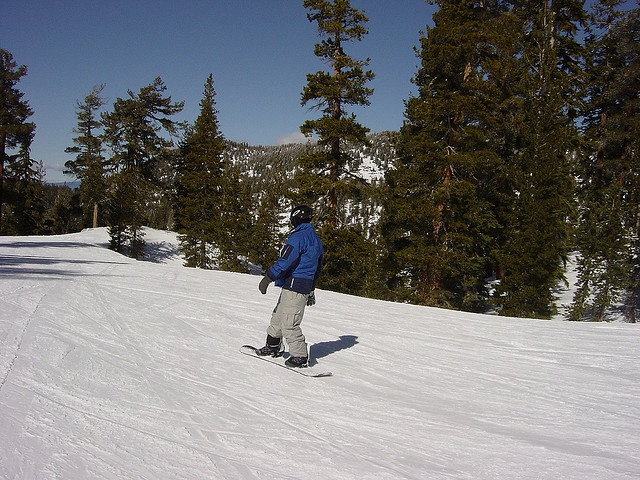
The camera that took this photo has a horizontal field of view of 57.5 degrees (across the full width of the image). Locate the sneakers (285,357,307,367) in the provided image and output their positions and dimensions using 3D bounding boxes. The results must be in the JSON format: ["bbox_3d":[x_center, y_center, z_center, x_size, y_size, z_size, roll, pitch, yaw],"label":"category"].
[{"bbox_3d":[-0.530,2.841,13.781,0.551,0.276,0.210,10,6,-4],"label":"sneakers"}]

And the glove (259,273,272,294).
[{"bbox_3d":[-1.218,0.999,13.365,0.257,0.450,0.106,24,-1,21],"label":"glove"}]

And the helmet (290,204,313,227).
[{"bbox_3d":[-0.423,-0.618,13.749,0.418,0.548,0.511,-5,21,-40],"label":"helmet"}]

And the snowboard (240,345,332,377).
[{"bbox_3d":[-0.867,2.882,13.755,1.591,0.170,0.431,12,14,32],"label":"snowboard"}]

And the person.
[{"bbox_3d":[-0.625,1.057,13.621,1.241,3.815,0.911,6,-4,0],"label":"person"}]
